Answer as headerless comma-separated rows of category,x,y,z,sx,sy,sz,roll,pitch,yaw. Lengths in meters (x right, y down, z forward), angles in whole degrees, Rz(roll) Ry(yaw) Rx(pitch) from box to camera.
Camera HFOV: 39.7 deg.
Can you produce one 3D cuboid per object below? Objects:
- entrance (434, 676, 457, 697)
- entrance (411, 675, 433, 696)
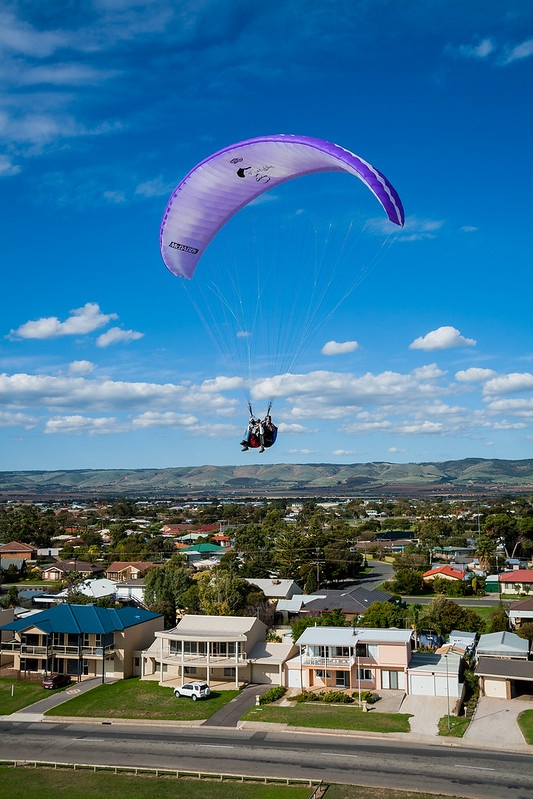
entrance,6.781,10.703,27.566,0.870,0.791,0.532,-2,-6,10
entrance,5.924,10.840,28.058,0.912,0.722,0.150,-3,-7,24
